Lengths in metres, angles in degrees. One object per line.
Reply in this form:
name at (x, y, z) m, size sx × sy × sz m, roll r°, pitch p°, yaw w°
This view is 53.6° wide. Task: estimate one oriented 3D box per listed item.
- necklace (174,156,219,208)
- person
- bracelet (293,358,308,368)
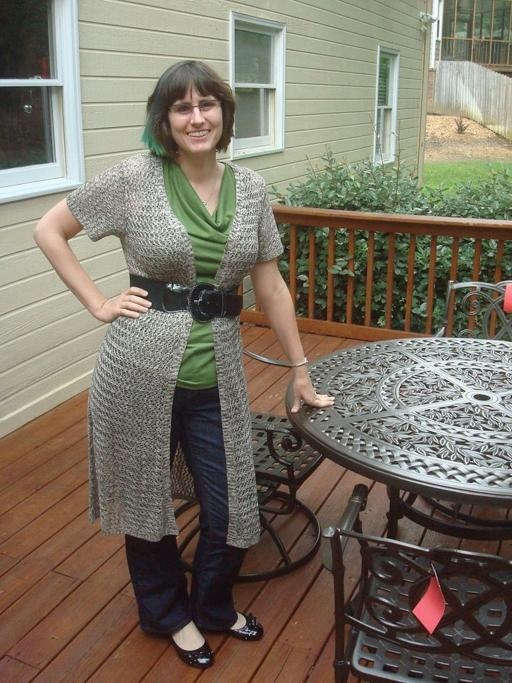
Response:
necklace at (-0.151, -0.392, 1.256) m, size 0.114 × 0.134 × 0.085 m, roll -1°, pitch 18°, yaw -4°
person at (-0.134, 0.173, 1.601) m, size 0.799 × 1.666 × 0.839 m, roll -1°, pitch 23°, yaw -17°
bracelet at (0.128, 0.061, 1.451) m, size 0.031 × 0.017 × 0.028 m, roll -25°, pitch 3°, yaw 15°
